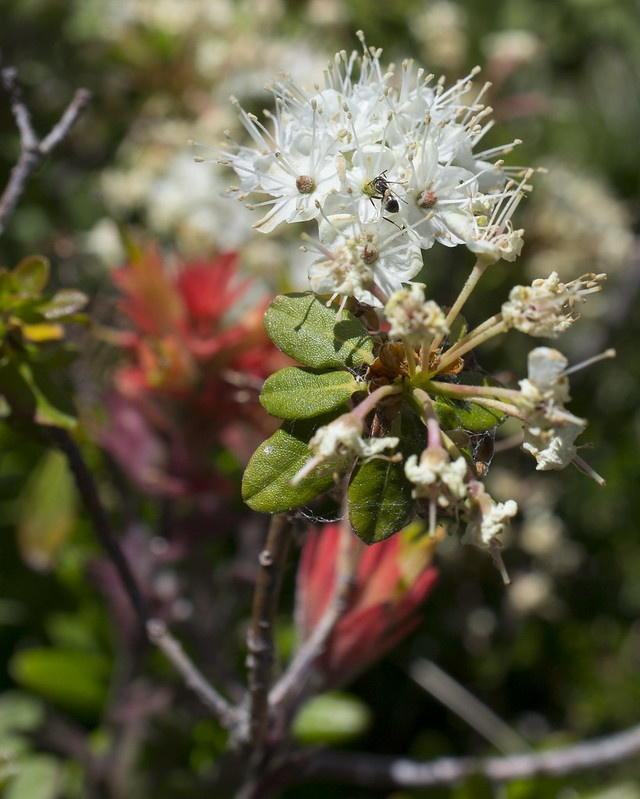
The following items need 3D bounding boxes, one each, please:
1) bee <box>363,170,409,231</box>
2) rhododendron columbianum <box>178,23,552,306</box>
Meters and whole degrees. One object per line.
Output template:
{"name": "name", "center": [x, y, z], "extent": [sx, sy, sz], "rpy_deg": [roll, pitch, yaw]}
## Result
{"name": "bee", "center": [0.069, -0.210, 0.919], "extent": [0.041, 0.031, 0.010], "rpy_deg": [17, 47, -48]}
{"name": "rhododendron columbianum", "center": [0.043, -0.263, 1.028], "extent": [0.410, 0.137, 0.353], "rpy_deg": [-16, 59, -13]}
